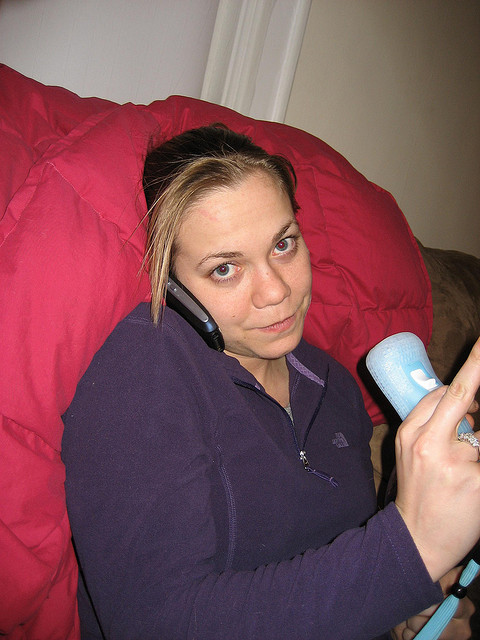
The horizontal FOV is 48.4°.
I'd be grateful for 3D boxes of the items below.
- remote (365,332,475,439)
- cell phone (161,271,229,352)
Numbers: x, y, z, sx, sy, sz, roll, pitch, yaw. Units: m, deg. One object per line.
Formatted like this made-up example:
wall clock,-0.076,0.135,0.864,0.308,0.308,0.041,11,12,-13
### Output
remote,0.250,0.080,0.813,0.102,0.070,0.179,-27,78,-23
cell phone,-0.068,-0.021,0.973,0.127,0.098,0.161,-8,26,-27
